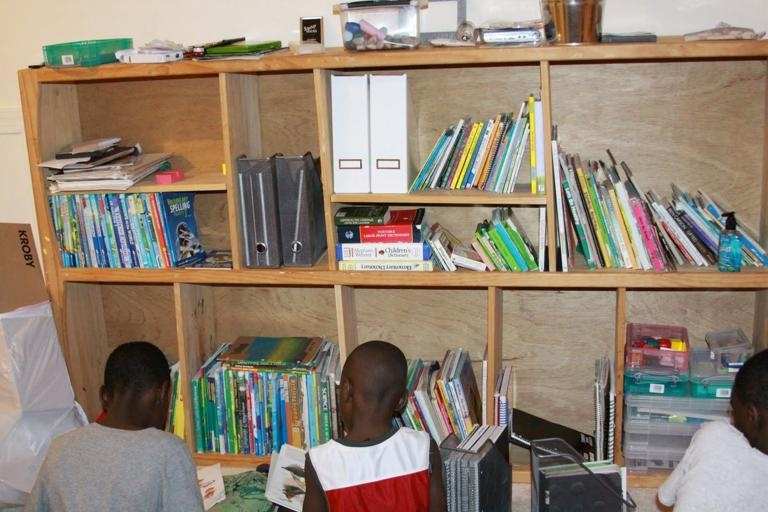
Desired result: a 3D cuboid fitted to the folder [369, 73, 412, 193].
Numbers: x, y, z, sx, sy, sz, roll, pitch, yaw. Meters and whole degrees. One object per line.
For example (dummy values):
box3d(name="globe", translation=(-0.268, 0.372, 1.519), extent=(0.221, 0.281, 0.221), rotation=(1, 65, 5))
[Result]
box3d(name="folder", translation=(0.016, -0.492, 2.586), extent=(0.175, 0.479, 0.065), rotation=(-5, 13, -4))
